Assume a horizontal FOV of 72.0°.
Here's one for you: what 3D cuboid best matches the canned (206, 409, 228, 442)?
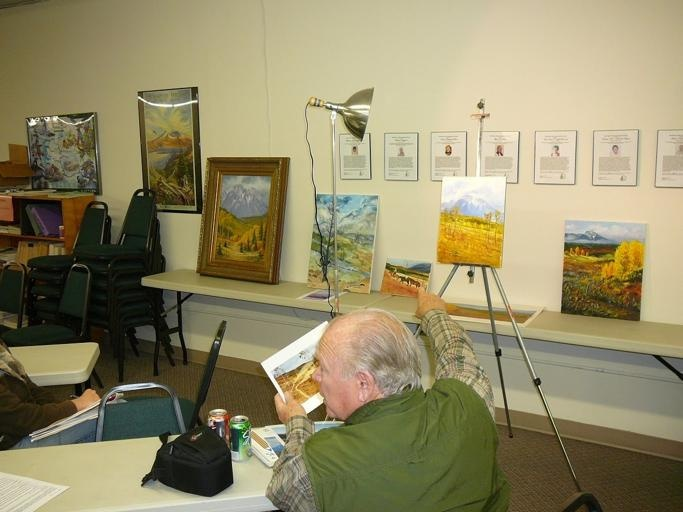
[{"bbox_3d":[-0.519,0.748,2.030,0.078,0.146,0.081,-4,6,-15],"label":"canned"}]

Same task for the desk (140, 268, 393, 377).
[{"bbox_3d":[-0.929,0.670,4.602,2.116,0.840,0.601,5,15,18],"label":"desk"}]

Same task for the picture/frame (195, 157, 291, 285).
[{"bbox_3d":[-0.927,-0.327,4.619,1.114,1.493,0.108,3,-3,34],"label":"picture/frame"}]

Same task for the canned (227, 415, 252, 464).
[{"bbox_3d":[-0.421,0.767,1.972,0.088,0.163,0.090,-3,3,-27],"label":"canned"}]

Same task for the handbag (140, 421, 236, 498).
[{"bbox_3d":[-0.570,0.734,1.765,0.245,0.142,0.228,3,6,26],"label":"handbag"}]

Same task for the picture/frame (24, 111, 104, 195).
[{"bbox_3d":[-3.512,-1.278,5.900,1.200,0.953,0.035,6,12,21],"label":"picture/frame"}]
